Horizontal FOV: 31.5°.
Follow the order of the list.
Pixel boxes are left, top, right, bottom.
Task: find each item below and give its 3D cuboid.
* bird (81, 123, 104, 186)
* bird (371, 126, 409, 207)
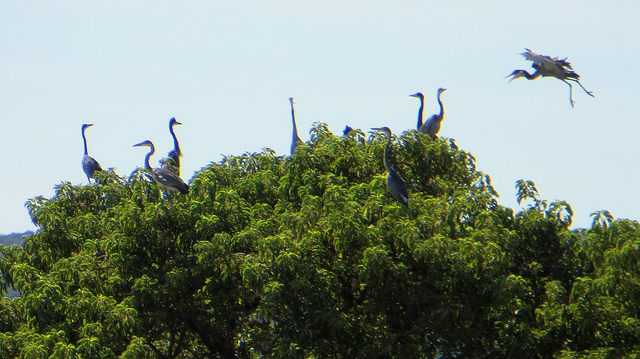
[{"bbox_3d":[-10.045,-0.986,49.529,0.896,2.735,0.880,-10,4,-33],"label":"bird"},{"bbox_3d":[2.513,-0.276,40.228,1.428,2.784,0.800,-1,-1,-31],"label":"bird"}]
